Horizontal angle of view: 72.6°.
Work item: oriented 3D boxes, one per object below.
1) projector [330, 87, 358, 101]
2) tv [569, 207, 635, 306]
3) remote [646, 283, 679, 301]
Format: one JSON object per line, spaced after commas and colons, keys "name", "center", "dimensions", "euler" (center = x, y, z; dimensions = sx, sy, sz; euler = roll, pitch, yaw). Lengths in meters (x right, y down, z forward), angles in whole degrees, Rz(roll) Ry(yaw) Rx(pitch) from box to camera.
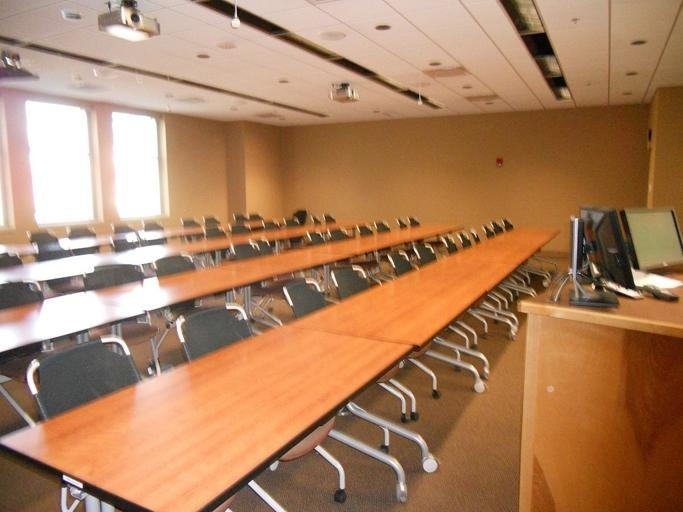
{"name": "projector", "center": [0.004, -2.592, 7.484], "dimensions": [0.357, 0.106, 0.240], "euler": [5, 14, 21]}
{"name": "tv", "center": [1.335, 0.012, 2.382], "dimensions": [0.273, 0.455, 0.508], "euler": [-5, 10, 1]}
{"name": "remote", "center": [1.654, 0.181, 2.385], "dimensions": [0.081, 0.028, 0.113], "euler": [-10, 18, -23]}
